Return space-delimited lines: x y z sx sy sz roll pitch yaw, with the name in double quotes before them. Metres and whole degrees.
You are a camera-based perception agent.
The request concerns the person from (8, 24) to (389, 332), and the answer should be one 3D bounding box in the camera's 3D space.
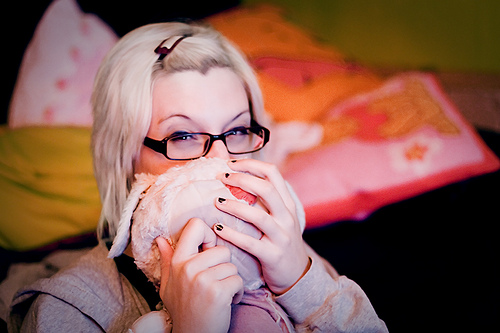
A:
"person" -0.319 0.035 2.243 1.275 0.892 2.088 -3 60 -36
